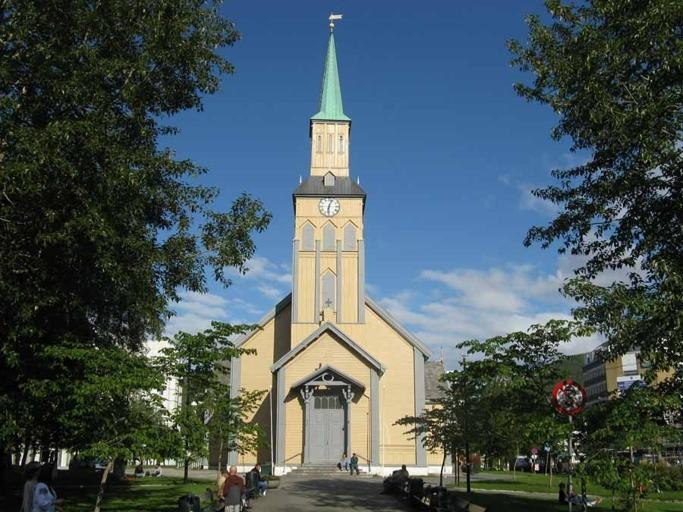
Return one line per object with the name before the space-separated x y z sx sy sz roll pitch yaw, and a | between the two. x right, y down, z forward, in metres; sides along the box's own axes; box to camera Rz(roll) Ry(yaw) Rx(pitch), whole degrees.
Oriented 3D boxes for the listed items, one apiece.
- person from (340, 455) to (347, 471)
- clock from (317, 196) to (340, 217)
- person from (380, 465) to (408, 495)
person | 0.150 10.862 43.637 0.396 0.903 0.642 1 -23 2
clock | -0.763 -2.925 50.409 1.221 1.291 0.122 1 -20 0
person | 2.182 8.963 33.503 0.953 1.327 1.999 0 -24 4
